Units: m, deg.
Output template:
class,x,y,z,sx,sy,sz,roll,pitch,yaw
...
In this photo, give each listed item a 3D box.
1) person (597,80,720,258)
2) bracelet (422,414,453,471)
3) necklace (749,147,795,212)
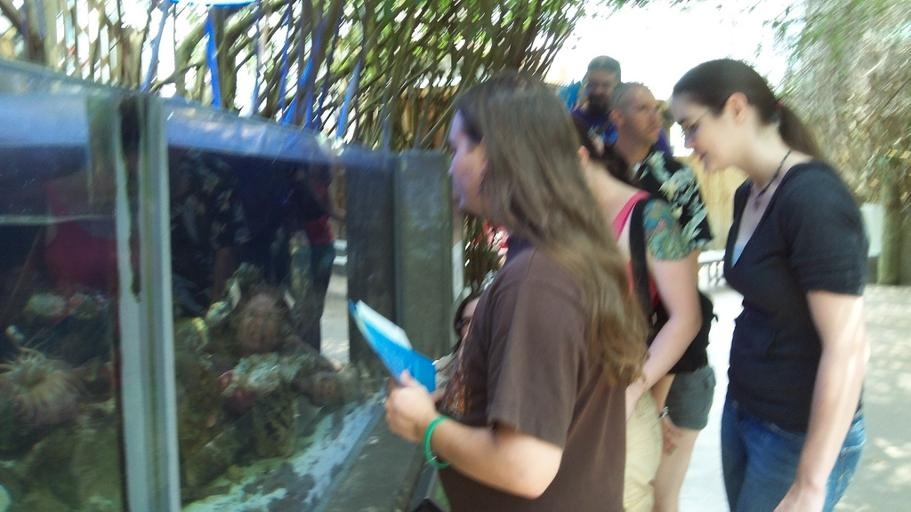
class,x,y,z,sx,sy,sz,roll,pitch,yaw
person,0.734,-0.326,2.553,0.274,0.273,0.774,-5,40,-37
bracelet,-0.082,0.557,2.048,0.053,0.154,0.128,6,3,29
necklace,1.067,-0.266,2.352,0.040,0.171,0.097,18,9,12
